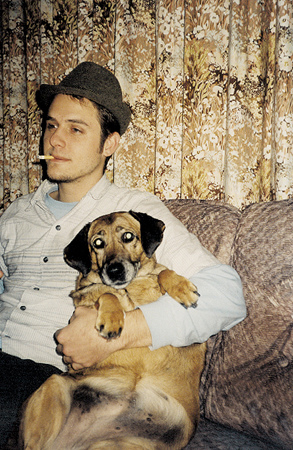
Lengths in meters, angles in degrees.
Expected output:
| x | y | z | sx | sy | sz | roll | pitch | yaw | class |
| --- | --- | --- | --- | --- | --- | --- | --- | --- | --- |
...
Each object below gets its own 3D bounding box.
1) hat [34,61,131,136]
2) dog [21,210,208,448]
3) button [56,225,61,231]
| x | y | z | sx | sy | sz | roll | pitch | yaw | class |
| --- | --- | --- | --- | --- | --- | --- | --- | --- | --- |
| -0.304 | -0.678 | 2.270 | 0.523 | 0.266 | 0.435 | 12 | 6 | 13 | hat |
| -0.097 | 0.395 | 1.650 | 0.454 | 0.952 | 0.417 | 5 | -21 | -13 | dog |
| -0.388 | 0.013 | 1.965 | 0.022 | 0.021 | 0.005 | 2 | -8 | 4 | button |
